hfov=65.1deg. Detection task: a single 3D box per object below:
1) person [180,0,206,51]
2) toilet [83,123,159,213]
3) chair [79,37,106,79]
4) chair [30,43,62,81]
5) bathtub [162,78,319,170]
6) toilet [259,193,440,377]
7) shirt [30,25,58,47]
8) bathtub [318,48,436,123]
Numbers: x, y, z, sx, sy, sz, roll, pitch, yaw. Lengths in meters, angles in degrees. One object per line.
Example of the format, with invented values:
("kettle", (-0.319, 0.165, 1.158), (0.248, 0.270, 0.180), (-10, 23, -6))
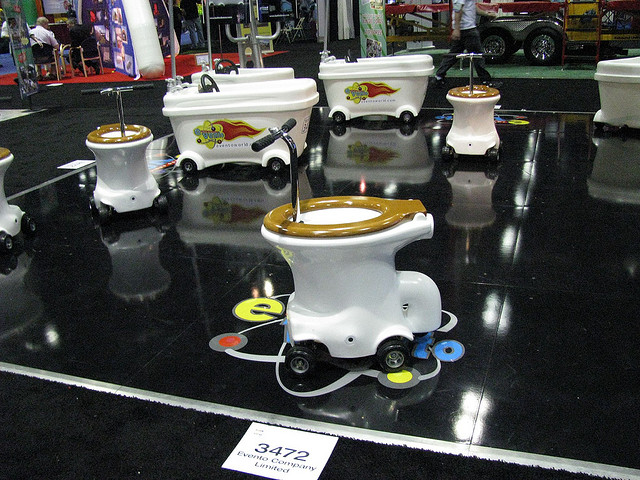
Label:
("person", (-3.925, -6.579, 15.433), (0.577, 1.356, 2.026), (-9, 24, -10))
("toilet", (-1.650, -0.607, 4.106), (0.461, 0.717, 0.668), (-16, 30, -37))
("chair", (-5.627, -4.463, 12.247), (0.583, 0.829, 0.601), (8, 25, 26))
("chair", (-6.235, -4.042, 11.490), (0.342, 0.507, 0.351), (-7, 13, 0))
("bathtub", (-0.775, -1.154, 5.177), (1.475, 0.808, 1.073), (0, 20, 14))
("toilet", (0.156, 0.172, 2.550), (0.845, 0.802, 0.705), (-4, 22, 0))
("shirt", (-6.293, -4.627, 11.402), (0.440, 0.471, 0.478), (-16, 26, -24))
("bathtub", (0.733, -2.095, 6.513), (1.460, 0.935, 0.849), (3, 29, 16))
